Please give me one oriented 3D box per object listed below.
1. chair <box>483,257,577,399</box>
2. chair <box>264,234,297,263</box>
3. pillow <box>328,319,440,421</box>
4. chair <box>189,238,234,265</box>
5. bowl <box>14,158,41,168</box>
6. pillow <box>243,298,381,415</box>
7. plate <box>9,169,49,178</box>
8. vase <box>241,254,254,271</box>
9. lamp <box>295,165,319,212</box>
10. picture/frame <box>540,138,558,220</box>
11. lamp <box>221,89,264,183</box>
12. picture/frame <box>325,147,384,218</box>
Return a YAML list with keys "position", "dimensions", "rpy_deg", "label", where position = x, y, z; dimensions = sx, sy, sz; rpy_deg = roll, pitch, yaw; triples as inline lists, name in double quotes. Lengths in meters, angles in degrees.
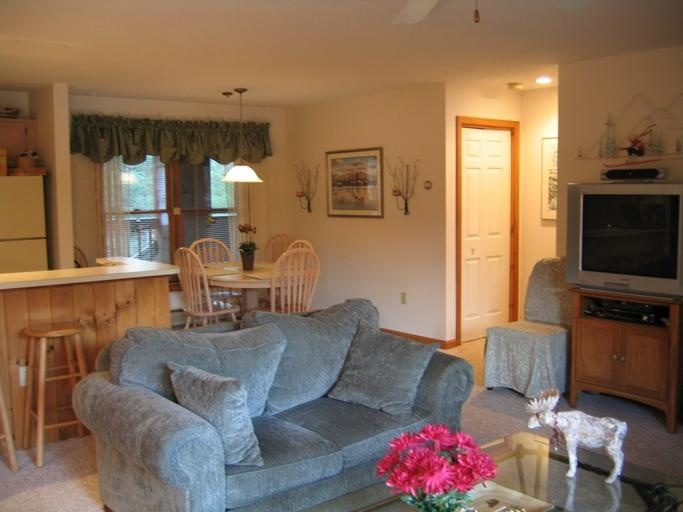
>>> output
- position: [1.605, 0.594, 4.573]
  dimensions: [0.647, 1.078, 0.662]
  rpy_deg: [5, 9, 36]
  label: "chair"
- position: [-0.848, -0.132, 7.330]
  dimensions: [0.398, 0.516, 0.387]
  rpy_deg: [4, 7, 1]
  label: "chair"
- position: [0.210, 0.645, 2.998]
  dimensions: [0.503, 0.454, 0.149]
  rpy_deg: [16, -16, 31]
  label: "pillow"
- position: [-1.588, -0.060, 6.659]
  dimensions: [0.427, 0.511, 0.377]
  rpy_deg: [-7, 11, -40]
  label: "chair"
- position: [-3.159, -0.941, 5.425]
  dimensions: [0.178, 0.130, 0.149]
  rpy_deg: [-7, 9, -38]
  label: "bowl"
- position: [-0.199, 0.583, 3.234]
  dimensions: [0.862, 0.524, 0.252]
  rpy_deg: [-11, 4, -39]
  label: "pillow"
- position: [-3.140, -0.843, 5.399]
  dimensions: [0.338, 0.077, 0.226]
  rpy_deg: [-5, 8, -29]
  label: "plate"
- position: [-0.972, 0.071, 5.712]
  dimensions: [0.169, 0.165, 0.159]
  rpy_deg: [-2, 4, -29]
  label: "vase"
- position: [-0.466, -0.887, 7.060]
  dimensions: [0.118, 0.638, 0.451]
  rpy_deg: [-7, 9, -36]
  label: "lamp"
- position: [2.285, -0.847, 5.910]
  dimensions: [0.065, 0.899, 0.205]
  rpy_deg: [-5, 9, -27]
  label: "picture/frame"
- position: [-1.171, -1.353, 6.292]
  dimensions: [0.439, 0.982, 1.487]
  rpy_deg: [-2, 7, -9]
  label: "lamp"
- position: [0.171, -0.867, 6.494]
  dimensions: [0.940, 0.794, 0.024]
  rpy_deg: [-9, 10, -43]
  label: "picture/frame"
